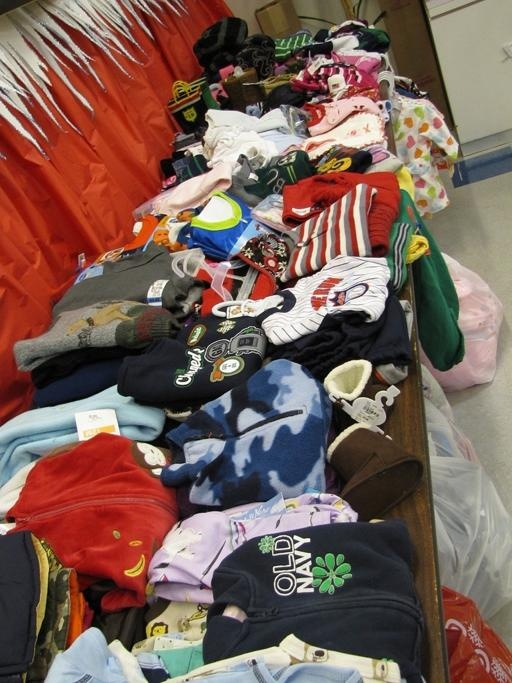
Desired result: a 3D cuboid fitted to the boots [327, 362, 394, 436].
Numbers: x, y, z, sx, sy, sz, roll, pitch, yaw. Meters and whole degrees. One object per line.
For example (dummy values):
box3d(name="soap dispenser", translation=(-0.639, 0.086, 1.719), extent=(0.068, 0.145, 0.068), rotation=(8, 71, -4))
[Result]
box3d(name="boots", translation=(0.183, 0.100, 1.009), extent=(0.101, 0.056, 0.133), rotation=(-37, 55, -12))

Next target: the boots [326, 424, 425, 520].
box3d(name="boots", translation=(0.176, 0.197, 0.902), extent=(0.121, 0.058, 0.167), rotation=(-12, 16, -12))
